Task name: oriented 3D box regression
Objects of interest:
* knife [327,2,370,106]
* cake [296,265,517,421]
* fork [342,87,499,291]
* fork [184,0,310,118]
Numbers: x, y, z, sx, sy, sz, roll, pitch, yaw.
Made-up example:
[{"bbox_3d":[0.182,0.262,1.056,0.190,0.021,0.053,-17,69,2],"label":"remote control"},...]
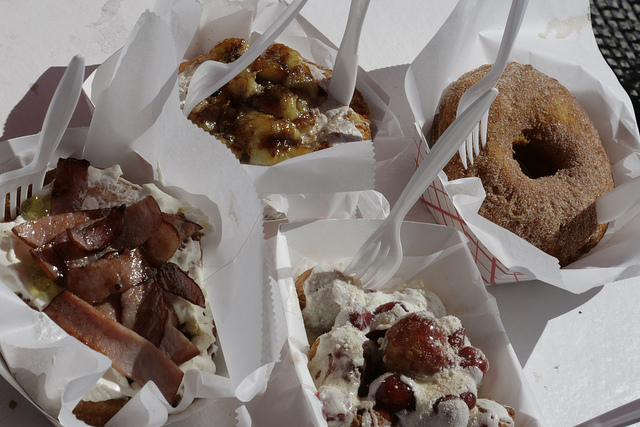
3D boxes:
[{"bbox_3d":[0.058,-0.346,1.346,0.049,0.302,0.045,20,54,8],"label":"knife"},{"bbox_3d":[0.158,0.234,1.152,0.362,0.143,0.334,0,41,-17],"label":"cake"},{"bbox_3d":[0.211,-0.036,1.278,0.077,0.073,0.489,33,73,-2],"label":"fork"},{"bbox_3d":[-0.168,-0.328,1.328,0.077,0.377,0.055,41,-3,-29],"label":"fork"}]
